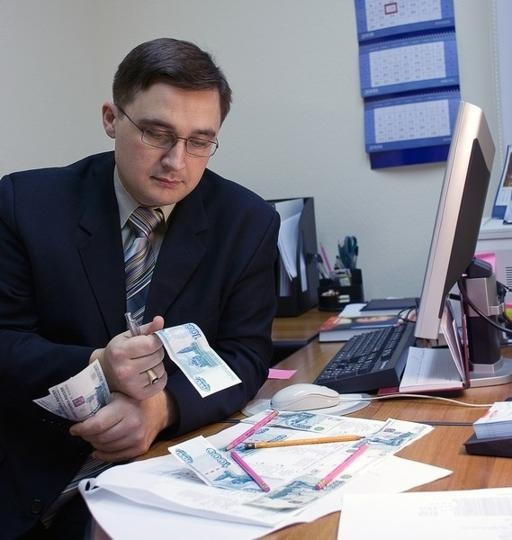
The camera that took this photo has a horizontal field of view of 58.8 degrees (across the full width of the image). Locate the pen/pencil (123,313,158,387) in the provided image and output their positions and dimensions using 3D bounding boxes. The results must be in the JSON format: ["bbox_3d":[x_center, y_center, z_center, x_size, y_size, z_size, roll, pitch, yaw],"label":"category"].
[{"bbox_3d":[-0.174,0.125,0.687,0.026,0.116,0.029,-25,-2,-6],"label":"pen/pencil"}]

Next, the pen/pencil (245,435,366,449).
[{"bbox_3d":[0.079,0.252,0.669,0.190,0.014,0.016,0,35,6],"label":"pen/pencil"}]

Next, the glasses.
[{"bbox_3d":[-0.177,-0.286,0.924,0.190,0.099,0.097,-7,2,-15],"label":"glasses"}]

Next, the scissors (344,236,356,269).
[{"bbox_3d":[0.387,-0.072,1.890,0.043,0.130,0.056,-1,-6,7],"label":"scissors"}]

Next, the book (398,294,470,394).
[{"bbox_3d":[0.328,0.114,0.915,0.147,0.174,0.257,-1,12,12],"label":"book"}]

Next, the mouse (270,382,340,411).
[{"bbox_3d":[0.097,0.217,0.817,0.090,0.030,0.055,-4,2,2],"label":"mouse"}]

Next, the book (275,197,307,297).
[{"bbox_3d":[0.137,-0.118,1.795,0.104,0.320,0.232,2,6,8],"label":"book"}]

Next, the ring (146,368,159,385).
[{"bbox_3d":[-0.160,0.163,0.701,0.014,0.023,0.007,-23,16,-29],"label":"ring"}]
